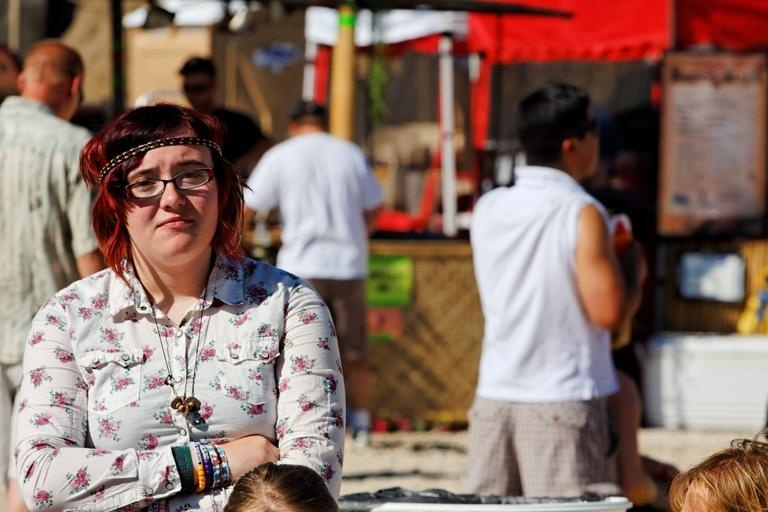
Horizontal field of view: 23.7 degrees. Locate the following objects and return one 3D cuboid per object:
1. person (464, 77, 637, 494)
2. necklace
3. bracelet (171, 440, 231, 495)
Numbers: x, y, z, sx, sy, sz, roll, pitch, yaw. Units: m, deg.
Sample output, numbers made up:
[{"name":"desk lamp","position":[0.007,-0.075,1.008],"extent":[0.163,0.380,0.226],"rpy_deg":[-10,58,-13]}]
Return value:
[{"name":"person","position":[0.817,0.172,9.135],"extent":[0.884,2.042,0.303],"rpy_deg":[-2,-3,9]},{"name":"necklace","position":[-0.969,0.518,8.631],"extent":[0.253,0.562,0.107],"rpy_deg":[-1,-3,-8]},{"name":"bracelet","position":[-0.849,0.995,8.528],"extent":[0.253,0.192,0.201],"rpy_deg":[-4,-14,41]}]
